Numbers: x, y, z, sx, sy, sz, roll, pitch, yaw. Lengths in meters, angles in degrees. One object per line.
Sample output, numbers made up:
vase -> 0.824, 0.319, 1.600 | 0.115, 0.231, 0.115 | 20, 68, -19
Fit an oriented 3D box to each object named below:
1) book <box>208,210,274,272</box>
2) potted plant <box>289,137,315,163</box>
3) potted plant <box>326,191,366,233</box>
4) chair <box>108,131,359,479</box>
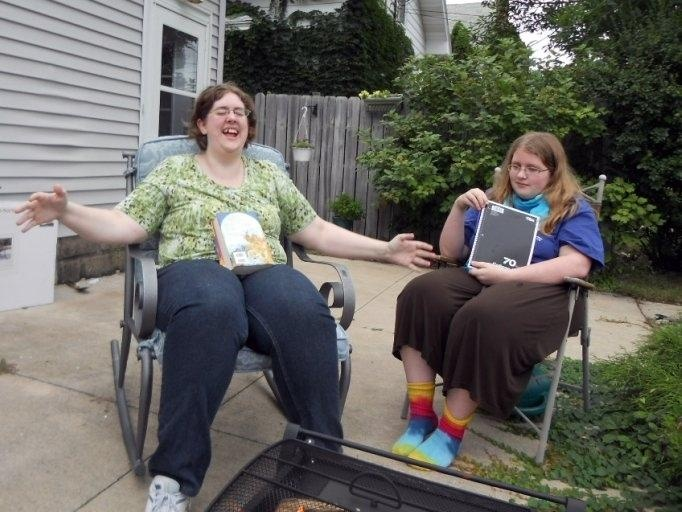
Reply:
book -> -0.456, -0.050, 2.204 | 0.261, 0.086, 0.369 | -2, 54, -25
potted plant -> -0.533, -1.448, 6.769 | 0.349, 0.326, 0.337 | 2, -3, 0
potted plant -> 0.066, -0.581, 6.824 | 0.570, 0.597, 0.563 | 1, -4, -8
chair -> -0.630, 0.150, 2.661 | 1.155, 1.357, 1.726 | 2, 10, -20
